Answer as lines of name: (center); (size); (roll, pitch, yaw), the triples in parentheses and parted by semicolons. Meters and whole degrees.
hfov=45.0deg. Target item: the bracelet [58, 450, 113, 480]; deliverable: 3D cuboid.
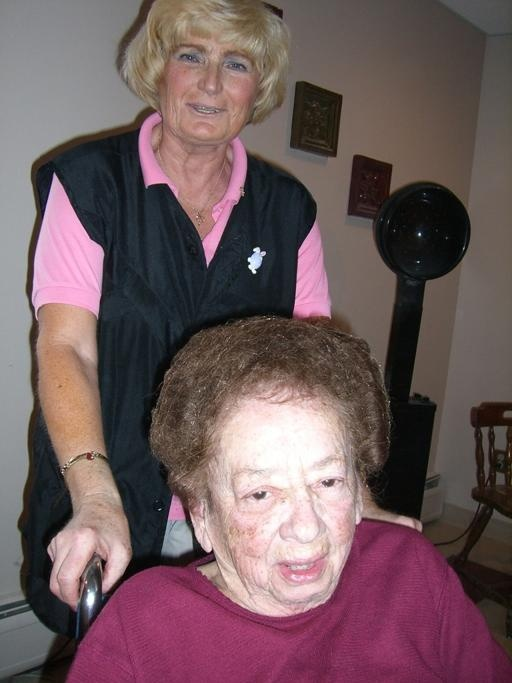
bracelet: (-0.266, 0.185, 0.929); (0.053, 0.019, 0.045); (8, 26, 6)
